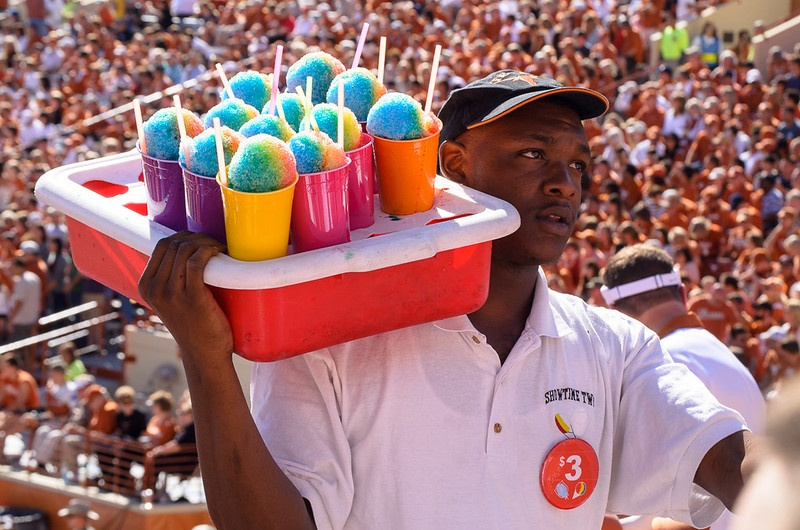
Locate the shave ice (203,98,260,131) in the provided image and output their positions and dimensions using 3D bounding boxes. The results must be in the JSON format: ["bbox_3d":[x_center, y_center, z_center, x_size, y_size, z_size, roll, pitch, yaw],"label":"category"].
[{"bbox_3d":[-1.355,-1.183,9.542,0.278,0.190,0.318,-1,-1,-9],"label":"shave ice"}]

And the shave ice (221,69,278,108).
[{"bbox_3d":[-1.228,-1.412,9.678,0.382,0.345,0.286,11,-3,0],"label":"shave ice"}]

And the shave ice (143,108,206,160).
[{"bbox_3d":[-1.787,-0.972,9.497,0.451,0.351,0.417,-12,23,-13],"label":"shave ice"}]

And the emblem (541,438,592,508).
[{"bbox_3d":[1.246,1.657,9.602,0.483,0.498,0.069,-14,3,-18],"label":"emblem"}]

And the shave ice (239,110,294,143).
[{"bbox_3d":[-1.067,-1.062,9.427,0.306,0.164,0.241,-1,-3,-3],"label":"shave ice"}]

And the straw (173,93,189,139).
[{"bbox_3d":[-1.726,-1.154,9.421,0.088,0.369,0.358,-3,15,-10],"label":"straw"}]

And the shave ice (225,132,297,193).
[{"bbox_3d":[-1.046,-0.769,9.279,0.379,0.392,0.487,1,8,23],"label":"shave ice"}]

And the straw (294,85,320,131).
[{"bbox_3d":[-0.758,-1.242,9.524,0.154,0.372,0.436,-2,15,-7],"label":"straw"}]
